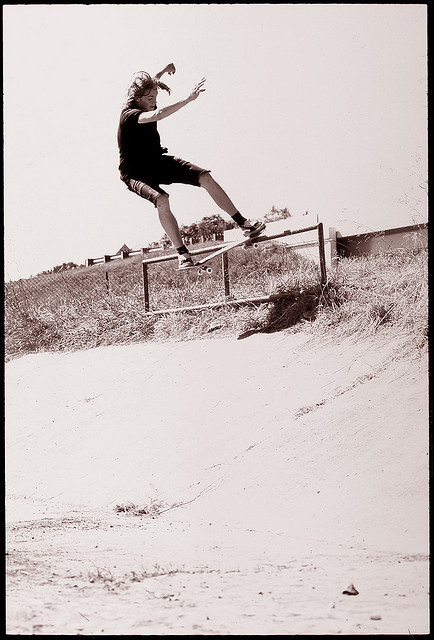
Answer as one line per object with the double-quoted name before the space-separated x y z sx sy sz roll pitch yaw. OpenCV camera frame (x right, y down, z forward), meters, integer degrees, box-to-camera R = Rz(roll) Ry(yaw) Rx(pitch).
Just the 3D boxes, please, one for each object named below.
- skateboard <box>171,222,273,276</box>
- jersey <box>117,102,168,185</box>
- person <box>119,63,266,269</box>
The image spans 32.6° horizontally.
"skateboard" 0.036 -0.606 6.242 0.984 0.140 0.236 -35 21 -5
"jersey" -0.586 -1.350 5.561 0.354 0.300 0.473 11 -30 0
"person" -0.255 -1.226 5.537 0.896 1.485 0.842 -4 29 19
